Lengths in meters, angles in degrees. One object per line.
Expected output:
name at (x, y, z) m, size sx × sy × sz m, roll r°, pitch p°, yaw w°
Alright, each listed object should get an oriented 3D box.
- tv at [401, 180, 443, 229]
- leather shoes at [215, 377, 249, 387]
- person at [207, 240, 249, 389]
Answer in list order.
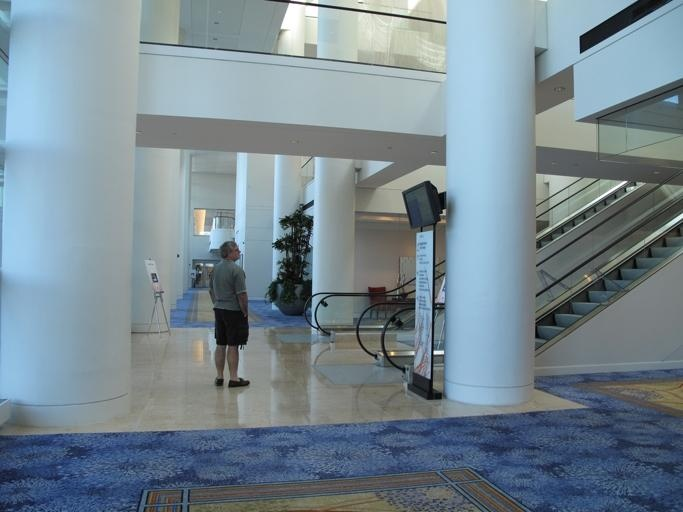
tv at (1.063, -0.656, 6.623) m, size 0.425 × 0.595 × 0.715 m, roll 1°, pitch 0°, yaw -8°
leather shoes at (-1.428, 1.652, 6.810) m, size 0.430 × 0.153 × 0.156 m, roll -1°, pitch -7°, yaw -4°
person at (-1.452, 0.754, 6.782) m, size 0.508 × 1.755 × 0.922 m, roll 1°, pitch 0°, yaw -15°
